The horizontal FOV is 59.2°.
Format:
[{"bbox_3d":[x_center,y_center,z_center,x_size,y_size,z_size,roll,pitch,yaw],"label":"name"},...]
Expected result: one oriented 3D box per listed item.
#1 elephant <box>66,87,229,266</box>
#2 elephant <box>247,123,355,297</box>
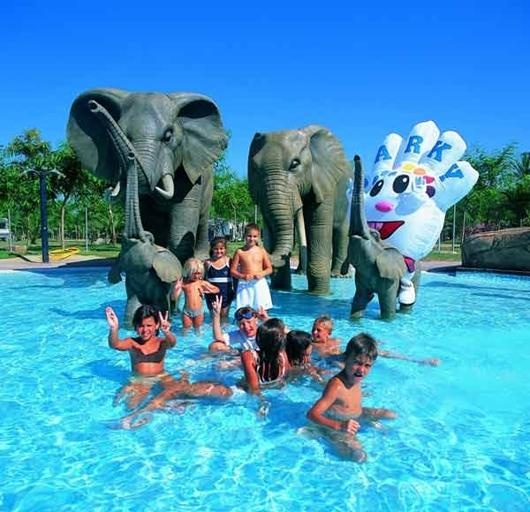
[{"bbox_3d":[-1.781,-1.187,6.835,1.598,2.247,3.358,1,0,10],"label":"elephant"},{"bbox_3d":[1.109,-1.197,9.668,1.562,3.189,3.554,1,0,25],"label":"elephant"}]
